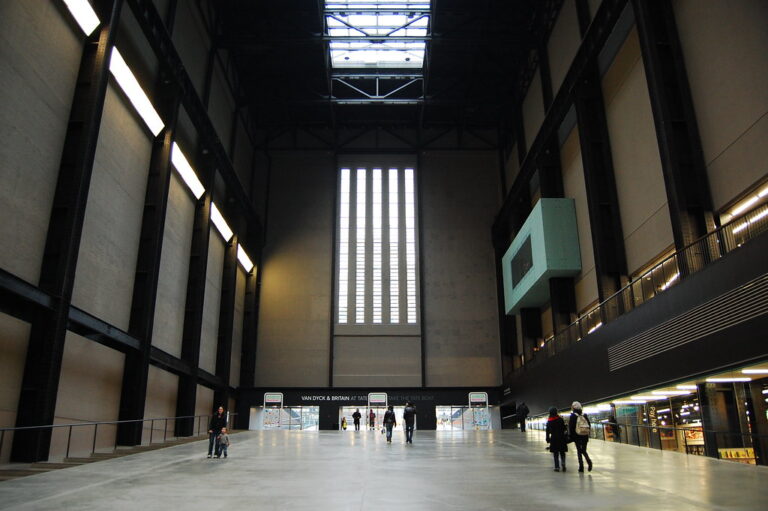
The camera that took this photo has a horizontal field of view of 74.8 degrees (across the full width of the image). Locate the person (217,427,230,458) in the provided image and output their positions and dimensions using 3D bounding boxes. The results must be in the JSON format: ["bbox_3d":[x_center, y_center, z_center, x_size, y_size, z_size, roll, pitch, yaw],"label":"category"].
[{"bbox_3d":[-7.179,8.178,22.238,0.622,1.242,0.420,-10,-22,23],"label":"person"}]

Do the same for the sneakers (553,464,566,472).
[{"bbox_3d":[6.374,7.636,18.178,0.216,0.252,0.601,-1,-31,3],"label":"sneakers"}]

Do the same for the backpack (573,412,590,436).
[{"bbox_3d":[7.190,5.996,18.070,0.487,0.771,0.343,9,-22,-23],"label":"backpack"}]
